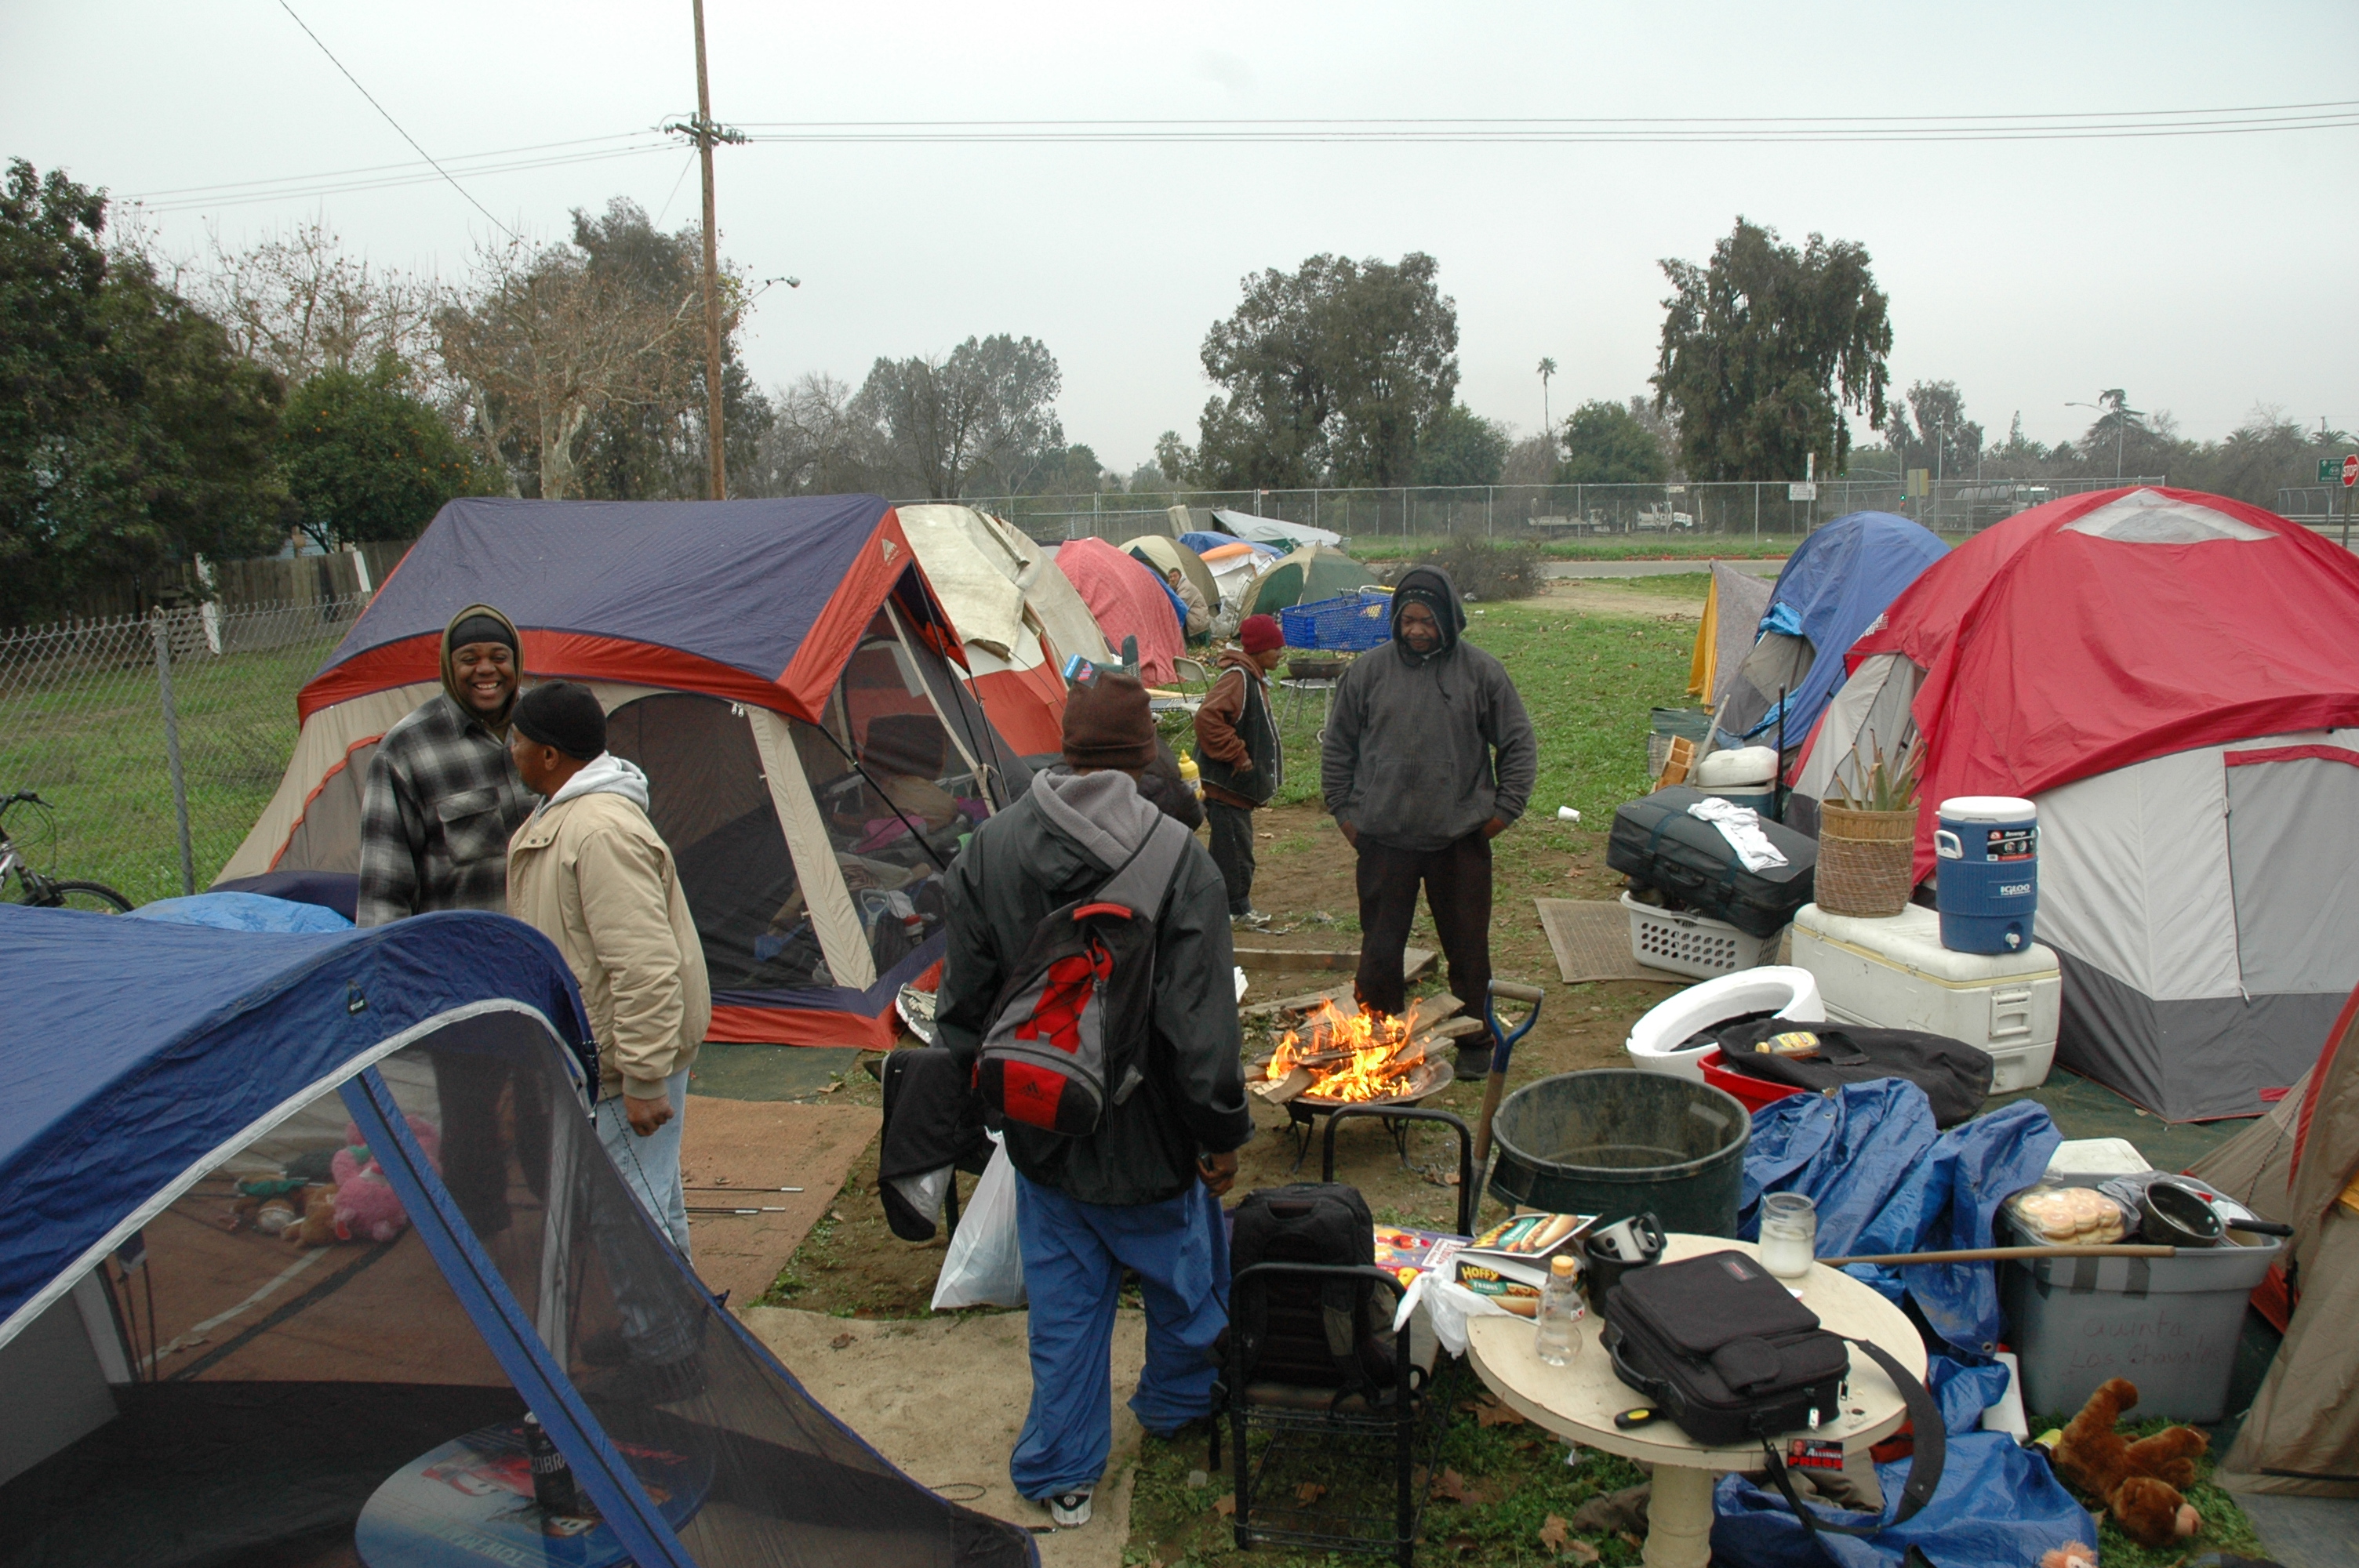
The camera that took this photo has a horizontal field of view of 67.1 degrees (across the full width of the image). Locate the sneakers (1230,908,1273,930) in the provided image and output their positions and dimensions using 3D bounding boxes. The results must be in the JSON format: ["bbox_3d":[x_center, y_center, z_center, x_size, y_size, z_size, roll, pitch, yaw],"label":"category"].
[{"bbox_3d":[0.429,0.782,10.338,0.252,0.110,0.087,-9,13,-11],"label":"sneakers"}]

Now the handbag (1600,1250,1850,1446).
[{"bbox_3d":[1.528,1.581,5.010,0.621,0.364,0.427,0,11,5],"label":"handbag"}]

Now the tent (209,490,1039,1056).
[{"bbox_3d":[-2.940,-0.360,9.285,3.298,1.523,3.295,2,10,14],"label":"tent"}]

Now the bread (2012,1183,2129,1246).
[{"bbox_3d":[2.942,1.414,5.909,0.203,0.056,0.204,-7,9,-9],"label":"bread"}]

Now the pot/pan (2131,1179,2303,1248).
[{"bbox_3d":[3.376,1.415,5.827,0.365,0.122,0.240,12,3,31],"label":"pot/pan"}]

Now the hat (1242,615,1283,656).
[{"bbox_3d":[0.434,-0.829,9.853,0.190,0.201,0.245,10,14,43],"label":"hat"}]

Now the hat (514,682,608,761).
[{"bbox_3d":[-2.016,-0.225,5.882,0.279,0.251,0.220,1,18,7],"label":"hat"}]

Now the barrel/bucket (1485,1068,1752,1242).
[{"bbox_3d":[1.501,1.226,6.068,0.636,0.583,0.629,-5,7,1],"label":"barrel/bucket"}]

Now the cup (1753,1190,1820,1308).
[{"bbox_3d":[1.830,1.381,5.403,0.222,0.344,0.227,-2,3,0],"label":"cup"}]

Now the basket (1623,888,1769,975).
[{"bbox_3d":[2.661,0.768,9.170,0.475,0.208,0.371,5,7,35],"label":"basket"}]

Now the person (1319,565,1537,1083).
[{"bbox_3d":[1.102,0.061,7.986,0.904,2.039,0.412,0,11,4],"label":"person"}]

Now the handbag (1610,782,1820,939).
[{"bbox_3d":[2.739,0.354,9.059,0.702,0.402,0.854,-33,41,-26],"label":"handbag"}]

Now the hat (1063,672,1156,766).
[{"bbox_3d":[-0.225,-0.229,5.946,0.286,0.289,0.293,2,7,14],"label":"hat"}]
